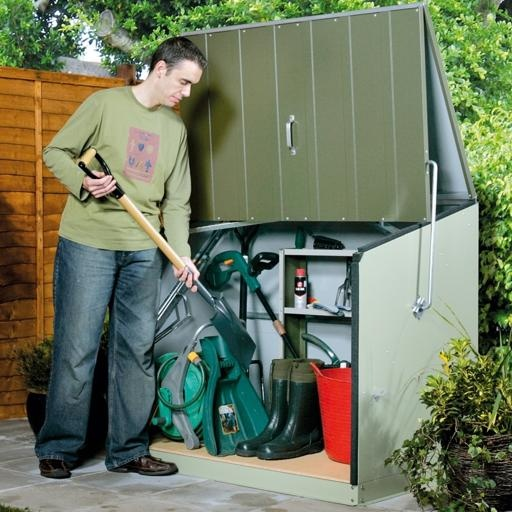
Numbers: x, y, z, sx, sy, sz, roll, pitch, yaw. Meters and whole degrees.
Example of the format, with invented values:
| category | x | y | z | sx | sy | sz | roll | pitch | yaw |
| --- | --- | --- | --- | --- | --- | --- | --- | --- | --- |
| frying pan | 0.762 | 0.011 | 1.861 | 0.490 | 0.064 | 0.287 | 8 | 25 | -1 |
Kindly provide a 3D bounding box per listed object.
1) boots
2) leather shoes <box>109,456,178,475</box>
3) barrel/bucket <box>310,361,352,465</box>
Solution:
| category | x | y | z | sx | sy | sz | roll | pitch | yaw |
| --- | --- | --- | --- | --- | --- | --- | --- | --- | --- |
| boots | 0.130 | 0.632 | 2.595 | 0.269 | 0.418 | 0.326 | 6 | 0 | 35 |
| leather shoes | -0.467 | 0.838 | 2.546 | 0.229 | 0.092 | 0.099 | -4 | -7 | 13 |
| barrel/bucket | 0.315 | 0.619 | 2.486 | 0.157 | 0.361 | 0.228 | 5 | 10 | 25 |
